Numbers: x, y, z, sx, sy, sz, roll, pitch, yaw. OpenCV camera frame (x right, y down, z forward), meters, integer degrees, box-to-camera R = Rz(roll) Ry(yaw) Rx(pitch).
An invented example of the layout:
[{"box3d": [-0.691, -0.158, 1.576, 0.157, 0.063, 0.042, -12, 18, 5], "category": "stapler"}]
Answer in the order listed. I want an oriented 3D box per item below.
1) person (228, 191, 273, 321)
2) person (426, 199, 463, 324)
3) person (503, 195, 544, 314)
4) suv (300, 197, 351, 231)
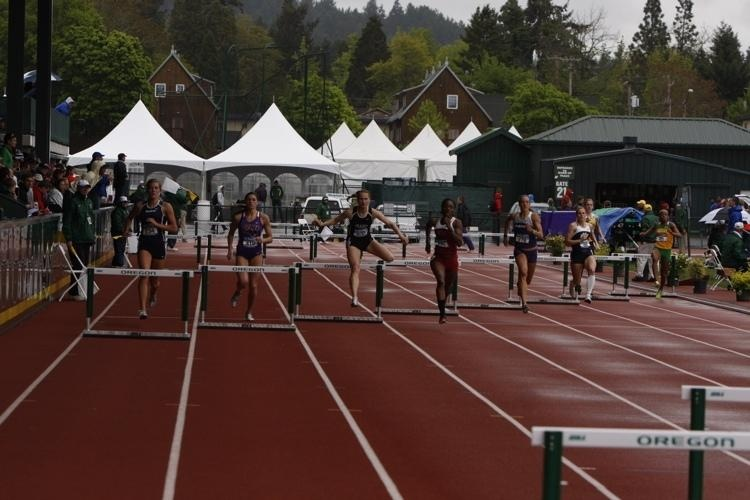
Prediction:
[{"box3d": [-2.584, -0.063, 17.952, 0.909, 3.017, 1.048, 0, -2, -3], "category": "person"}, {"box3d": [1.406, 0.215, 18.231, 0.670, 2.646, 1.390, 1, 3, -6], "category": "person"}, {"box3d": [3.508, 0.100, 20.475, 0.845, 2.872, 1.031, 1, 0, 2], "category": "person"}, {"box3d": [-2.669, -1.941, 43.245, 1.464, 1.401, 2.420, 1, 18, 8], "category": "suv"}]
